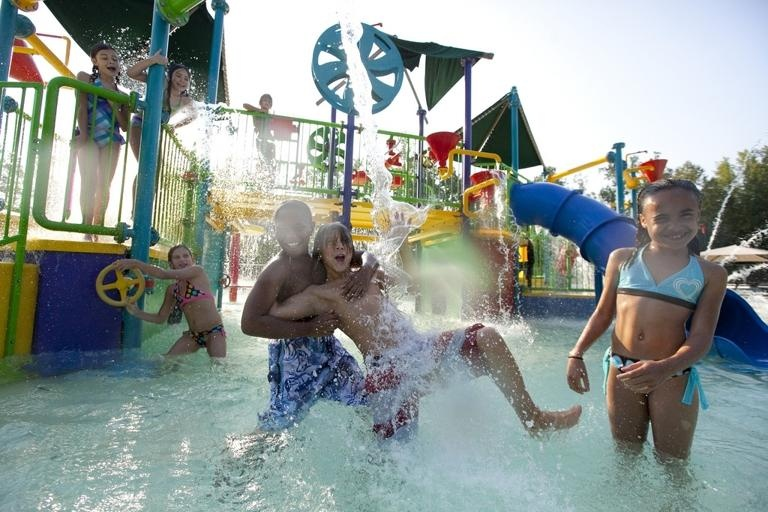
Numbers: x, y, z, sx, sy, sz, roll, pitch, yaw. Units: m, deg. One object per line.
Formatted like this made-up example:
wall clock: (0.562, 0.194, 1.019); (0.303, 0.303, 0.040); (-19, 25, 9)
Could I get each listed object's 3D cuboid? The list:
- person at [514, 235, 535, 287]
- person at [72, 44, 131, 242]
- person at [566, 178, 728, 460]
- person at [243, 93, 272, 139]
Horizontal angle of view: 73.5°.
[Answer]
person: (3.645, 0.136, 12.887); (0.626, 1.163, 0.602); (-2, -5, -1)
person: (-3.049, -1.293, 5.580); (0.485, 2.245, 1.114); (-1, 6, -30)
person: (1.919, 0.828, 3.841); (0.984, 2.692, 0.984); (7, 14, 41)
person: (-2.185, -2.455, 8.945); (0.461, 0.965, 1.500); (1, 5, -15)
